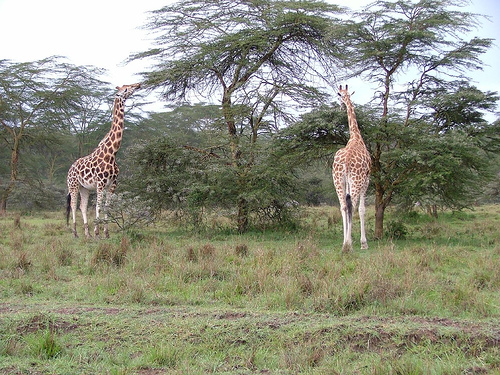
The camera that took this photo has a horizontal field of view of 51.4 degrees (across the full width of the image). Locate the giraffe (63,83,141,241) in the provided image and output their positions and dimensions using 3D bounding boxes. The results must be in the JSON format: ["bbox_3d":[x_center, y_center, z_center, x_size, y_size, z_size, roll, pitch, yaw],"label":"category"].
[{"bbox_3d":[-4.551,-0.727,15.613,2.030,4.664,2.960,-4,10,-20],"label":"giraffe"}]

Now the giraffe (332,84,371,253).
[{"bbox_3d":[2.574,-0.414,13.220,0.917,3.707,2.542,1,10,9],"label":"giraffe"}]
